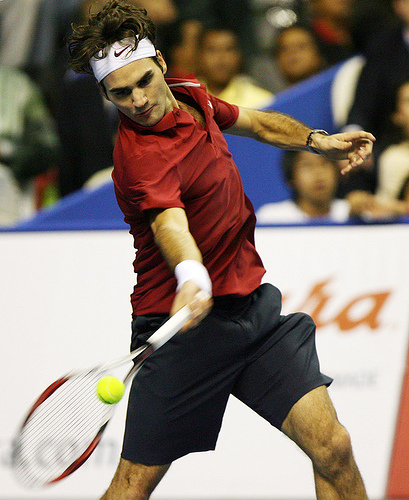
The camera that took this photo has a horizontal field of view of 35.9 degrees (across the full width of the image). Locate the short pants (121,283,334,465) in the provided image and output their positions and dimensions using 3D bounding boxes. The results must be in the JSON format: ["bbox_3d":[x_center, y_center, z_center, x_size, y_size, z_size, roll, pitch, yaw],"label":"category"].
[{"bbox_3d":[0.072,0.421,2.334,0.889,0.294,0.629,-4,84,-26],"label":"short pants"}]

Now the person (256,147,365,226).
[{"bbox_3d":[0.736,-0.413,4.247,0.866,0.317,0.388,-1,73,-3],"label":"person"}]

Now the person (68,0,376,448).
[{"bbox_3d":[0.022,-0.059,2.152,0.880,1.436,1.073,0,38,11],"label":"person"}]

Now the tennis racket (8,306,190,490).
[{"bbox_3d":[-0.410,0.561,2.406,1.183,0.100,0.297,-31,75,17],"label":"tennis racket"}]

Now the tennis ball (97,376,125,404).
[{"bbox_3d":[-0.272,0.405,1.821,0.080,0.080,0.069,1,73,42],"label":"tennis ball"}]
